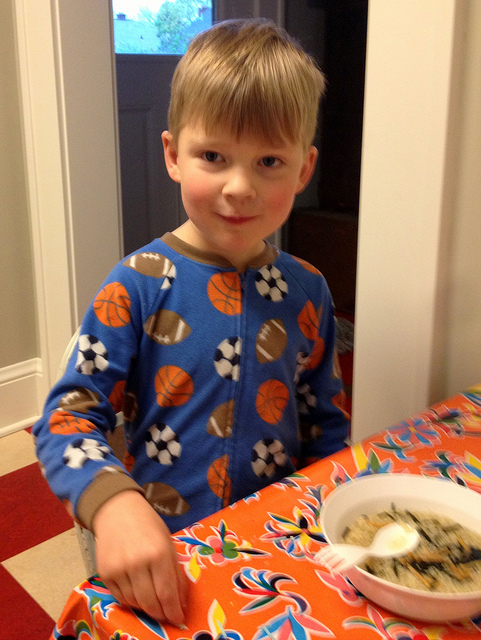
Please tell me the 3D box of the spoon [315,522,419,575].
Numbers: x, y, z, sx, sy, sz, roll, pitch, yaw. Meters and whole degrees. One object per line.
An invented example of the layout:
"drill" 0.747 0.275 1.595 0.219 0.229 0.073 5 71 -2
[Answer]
"spoon" 0.099 0.171 0.411 0.089 0.016 0.033 -10 27 -33

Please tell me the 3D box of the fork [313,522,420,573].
"fork" 0.100 0.175 0.419 0.092 0.015 0.034 -11 25 -27
